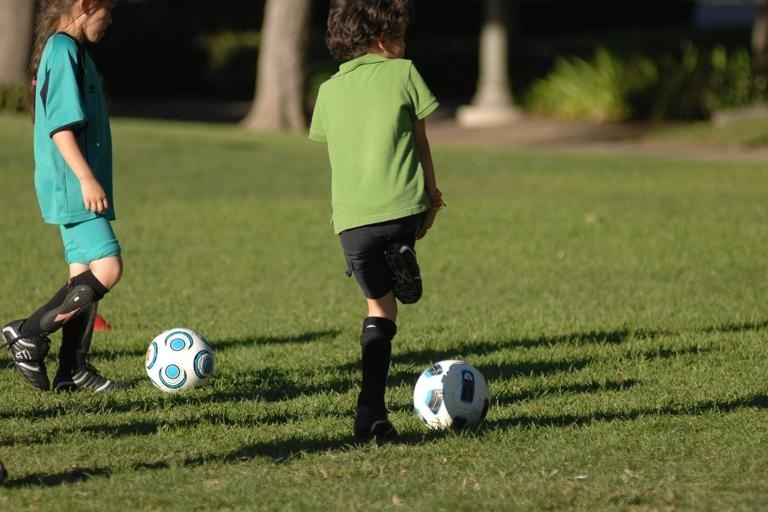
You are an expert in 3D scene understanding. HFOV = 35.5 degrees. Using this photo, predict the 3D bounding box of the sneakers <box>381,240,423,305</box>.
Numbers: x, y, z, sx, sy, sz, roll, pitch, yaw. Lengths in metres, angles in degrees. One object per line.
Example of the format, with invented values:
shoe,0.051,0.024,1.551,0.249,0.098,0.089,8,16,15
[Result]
sneakers,0.171,0.124,8.375,0.217,0.426,0.211,-10,16,29

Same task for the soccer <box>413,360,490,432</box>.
soccer,0.502,1.029,8.555,0.545,0.479,0.465,-4,1,6

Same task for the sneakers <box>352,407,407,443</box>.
sneakers,-0.029,1.226,8.547,0.265,0.224,0.530,-3,-13,22

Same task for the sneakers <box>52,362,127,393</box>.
sneakers,-2.172,0.933,9.064,0.568,0.241,0.200,1,-1,-9
